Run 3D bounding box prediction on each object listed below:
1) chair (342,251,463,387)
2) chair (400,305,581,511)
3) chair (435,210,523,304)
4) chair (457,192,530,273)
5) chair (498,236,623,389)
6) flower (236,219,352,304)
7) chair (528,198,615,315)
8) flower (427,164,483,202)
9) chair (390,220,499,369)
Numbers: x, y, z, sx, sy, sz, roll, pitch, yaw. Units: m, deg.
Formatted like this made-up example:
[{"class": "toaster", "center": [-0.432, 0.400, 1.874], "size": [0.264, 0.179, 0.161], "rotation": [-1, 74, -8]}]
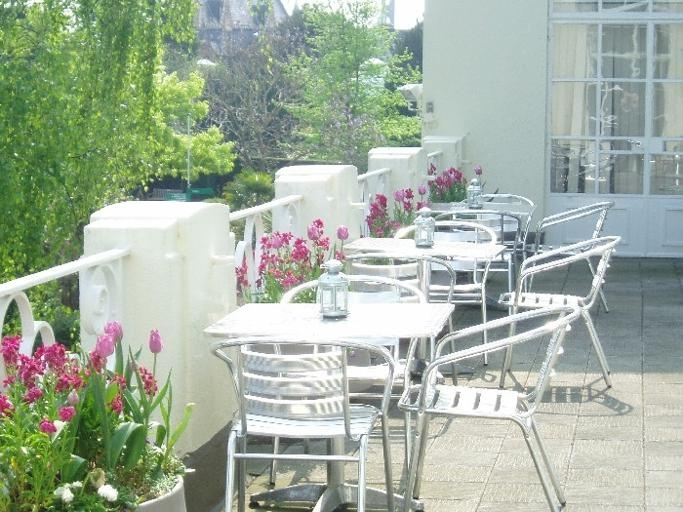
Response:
[{"class": "chair", "center": [0.463, 0.497, 10.447], "size": [0.994, 1.283, 0.952], "rotation": [0, -1, 11]}, {"class": "chair", "center": [1.033, 0.970, 9.346], "size": [1.372, 1.813, 1.255], "rotation": [3, 3, 10]}, {"class": "chair", "center": [1.382, -0.028, 11.988], "size": [0.850, 1.109, 0.795], "rotation": [0, 1, 6]}, {"class": "chair", "center": [1.401, -0.219, 11.996], "size": [0.663, 0.883, 0.603], "rotation": [6, 19, 24]}, {"class": "chair", "center": [1.770, 0.430, 10.549], "size": [0.930, 1.144, 0.863], "rotation": [3, 7, 16]}, {"class": "flower", "center": [-0.438, 0.059, 10.012], "size": [0.680, 0.733, 0.817], "rotation": [-12, 13, -25]}, {"class": "chair", "center": [2.181, -0.029, 12.532], "size": [0.934, 1.144, 0.953], "rotation": [0, 8, -10]}, {"class": "flower", "center": [1.224, -0.791, 14.194], "size": [0.591, 0.478, 0.482], "rotation": [2, 8, 11]}, {"class": "chair", "center": [0.978, 0.302, 10.813], "size": [0.811, 0.975, 0.763], "rotation": [0, -8, 8]}]
